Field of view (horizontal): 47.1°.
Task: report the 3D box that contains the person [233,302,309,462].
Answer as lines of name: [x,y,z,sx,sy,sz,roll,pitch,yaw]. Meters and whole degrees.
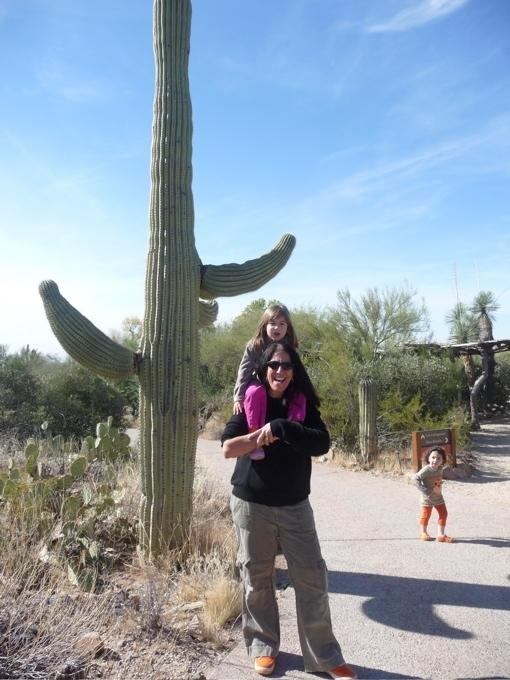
person: [0.104,0.147,4.055,0.430,0.281,1.045,5,-49,-2]

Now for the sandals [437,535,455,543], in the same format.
sandals: [1.685,1.761,5.197,0.055,0.045,0.100,4,-10,-32]

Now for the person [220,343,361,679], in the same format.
person: [0.149,0.854,3.002,0.630,1.684,0.433,-3,-5,8]

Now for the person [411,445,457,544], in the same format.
person: [1.648,1.418,5.473,0.300,0.783,0.553,-3,-5,17]
